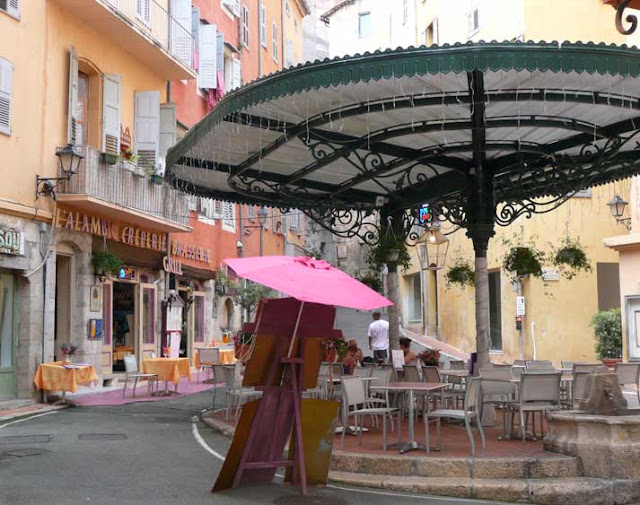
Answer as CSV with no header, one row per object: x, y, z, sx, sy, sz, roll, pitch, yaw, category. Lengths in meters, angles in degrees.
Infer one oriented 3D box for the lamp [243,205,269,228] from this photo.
-2.373,-1.293,33.940,0.746,0.842,0.450,7,39,12,lamp

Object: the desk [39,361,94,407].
-5.601,2.850,21.126,0.916,0.584,0.900,2,3,44,desk

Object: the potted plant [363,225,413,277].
1.575,0.040,20.394,1.020,1.316,0.872,3,-10,-13,potted plant

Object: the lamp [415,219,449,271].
2.328,-0.117,19.602,0.613,0.935,0.509,0,-9,2,lamp

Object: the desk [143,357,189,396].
-3.780,3.026,23.299,0.882,0.831,1.456,-2,-10,11,desk

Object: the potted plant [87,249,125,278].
-5.637,0.313,24.984,0.625,0.700,1.172,-2,-10,16,potted plant

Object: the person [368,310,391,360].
1.435,2.264,22.876,0.572,1.743,0.485,-3,12,-7,person

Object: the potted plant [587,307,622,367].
8.344,2.441,27.669,1.096,1.804,1.370,-2,-7,20,potted plant

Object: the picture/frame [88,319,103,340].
-5.899,2.008,24.564,0.046,0.350,0.463,-6,19,17,picture/frame

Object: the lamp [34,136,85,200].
-6.140,-1.888,22.224,0.862,1.495,0.530,5,-2,14,lamp

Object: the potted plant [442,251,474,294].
4.066,0.597,27.410,1.015,1.425,1.217,1,-7,-9,potted plant

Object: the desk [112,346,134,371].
-5.394,2.883,25.522,0.210,0.498,0.781,0,-3,5,desk
